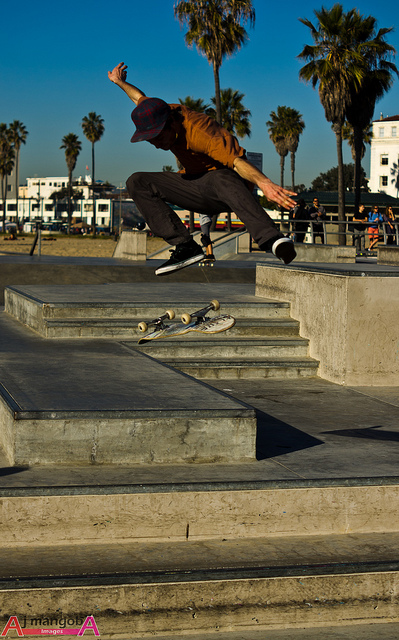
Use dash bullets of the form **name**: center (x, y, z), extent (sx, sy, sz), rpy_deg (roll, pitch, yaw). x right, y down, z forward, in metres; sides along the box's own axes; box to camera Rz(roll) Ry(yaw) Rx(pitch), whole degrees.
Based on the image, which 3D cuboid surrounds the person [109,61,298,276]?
- **person**: center (0.006, -0.924, 6.212), extent (0.763, 1.192, 1.617), rpy_deg (-18, 20, -36)

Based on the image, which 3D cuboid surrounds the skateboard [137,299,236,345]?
- **skateboard**: center (-0.086, 0.045, 6.440), extent (0.446, 0.132, 0.348), rpy_deg (-15, 12, 9)
